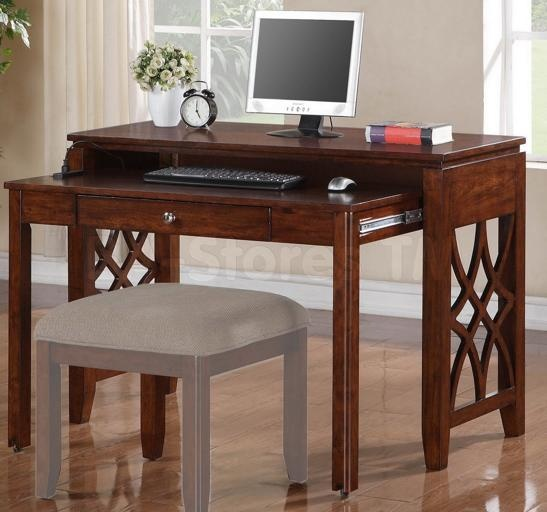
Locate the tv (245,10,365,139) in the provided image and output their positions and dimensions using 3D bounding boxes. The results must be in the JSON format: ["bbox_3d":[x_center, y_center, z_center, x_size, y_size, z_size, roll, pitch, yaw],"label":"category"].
[{"bbox_3d":[0.089,-0.555,1.767,0.393,0.359,0.187,13,24,30],"label":"tv"}]

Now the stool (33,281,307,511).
[{"bbox_3d":[-0.182,0.174,1.287,0.499,0.430,0.501,2,4,28],"label":"stool"}]

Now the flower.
[{"bbox_3d":[-0.387,-0.658,2.051,0.200,0.138,0.204,6,9,40],"label":"flower"}]

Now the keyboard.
[{"bbox_3d":[-0.125,-0.200,1.498,0.400,0.074,0.157,1,4,22],"label":"keyboard"}]

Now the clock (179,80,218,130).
[{"bbox_3d":[-0.257,-0.524,2.000,0.122,0.160,0.064,8,19,25],"label":"clock"}]

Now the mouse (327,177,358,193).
[{"bbox_3d":[0.173,-0.176,1.422,0.062,0.047,0.170,1,4,9],"label":"mouse"}]

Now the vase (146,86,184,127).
[{"bbox_3d":[-0.393,-0.541,2.065,0.131,0.145,0.127,12,23,3],"label":"vase"}]
